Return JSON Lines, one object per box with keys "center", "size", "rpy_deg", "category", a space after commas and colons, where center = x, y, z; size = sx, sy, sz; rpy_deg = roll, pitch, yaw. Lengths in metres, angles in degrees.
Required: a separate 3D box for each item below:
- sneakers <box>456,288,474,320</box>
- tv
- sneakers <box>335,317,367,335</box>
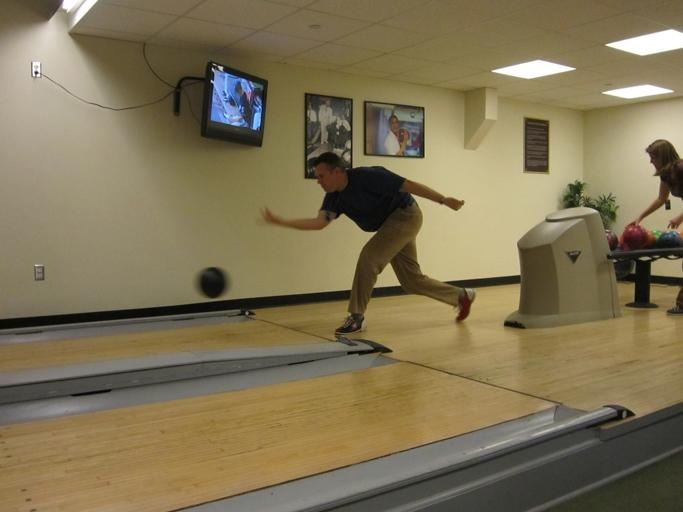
{"center": [1.239, 0.483, 4.561], "size": [0.172, 0.393, 0.133], "rpy_deg": [0, 18, -14], "category": "sneakers"}
{"center": [-1.274, -1.753, 5.186], "size": [0.320, 1.014, 1.042], "rpy_deg": [-2, -1, 38], "category": "tv"}
{"center": [0.083, 0.620, 4.049], "size": [0.310, 0.132, 0.112], "rpy_deg": [4, -5, -43], "category": "sneakers"}
